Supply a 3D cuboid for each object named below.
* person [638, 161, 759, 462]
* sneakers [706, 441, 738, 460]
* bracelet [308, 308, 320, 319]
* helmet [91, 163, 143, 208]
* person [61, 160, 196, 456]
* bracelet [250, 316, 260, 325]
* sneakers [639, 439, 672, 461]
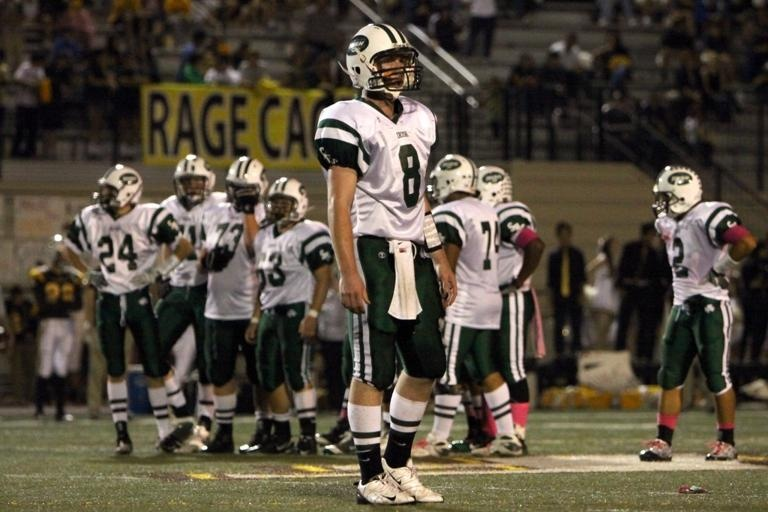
[{"bbox_3d":[3.936,0.687,19.259,1.225,3.759,0.708,-2,-6,13],"label":"person"},{"bbox_3d":[4.221,2.455,19.150,0.465,0.198,0.170,6,-12,-32],"label":"sneakers"},{"bbox_3d":[-0.883,0.749,19.514,0.116,0.089,0.120,0,-2,25],"label":"bracelet"},{"bbox_3d":[-3.370,-0.882,19.805,0.617,0.550,0.463,-6,11,-33],"label":"helmet"},{"bbox_3d":[-3.282,0.695,19.610,1.546,3.683,0.433,1,-6,-8],"label":"person"},{"bbox_3d":[-1.649,0.847,19.679,0.077,0.061,0.078,-1,-6,18],"label":"bracelet"},{"bbox_3d":[3.396,2.429,19.089,0.391,0.276,0.258,-1,-6,8],"label":"sneakers"}]
